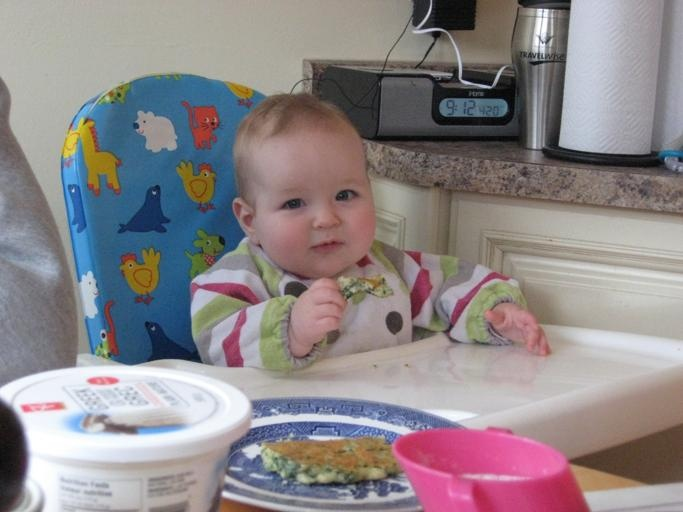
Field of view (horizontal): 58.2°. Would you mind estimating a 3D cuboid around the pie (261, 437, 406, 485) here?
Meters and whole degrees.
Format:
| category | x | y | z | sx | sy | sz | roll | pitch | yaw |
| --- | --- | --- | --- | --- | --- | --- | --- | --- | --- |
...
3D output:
| category | x | y | z | sx | sy | sz | roll | pitch | yaw |
| --- | --- | --- | --- | --- | --- | --- | --- | --- | --- |
| pie | -0.004 | 0.159 | 0.490 | 0.088 | 0.016 | 0.058 | 0 | 20 | 0 |
